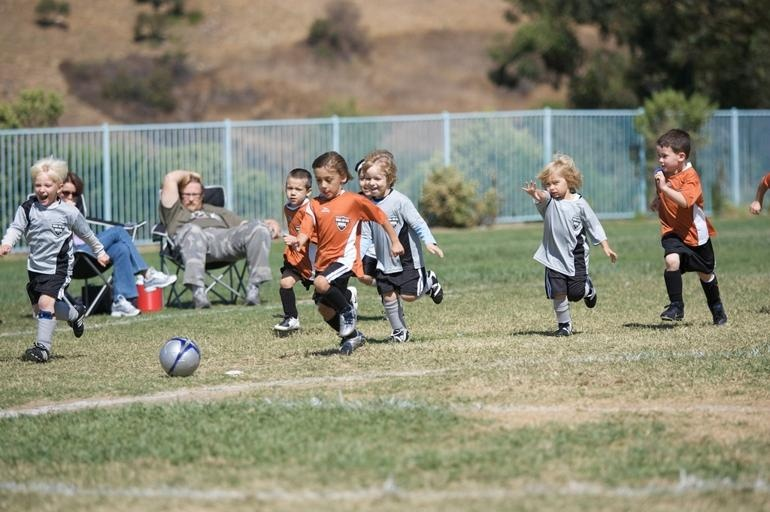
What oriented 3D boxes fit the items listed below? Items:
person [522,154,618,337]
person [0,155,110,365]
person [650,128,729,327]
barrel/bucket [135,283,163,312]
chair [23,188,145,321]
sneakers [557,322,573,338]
[{"bbox_3d":[2.672,-0.165,18.470,1.028,2.630,0.582,-2,4,5],"label":"person"},{"bbox_3d":[-4.834,0.036,18.103,1.293,2.936,0.677,-4,4,-13],"label":"person"},{"bbox_3d":[4.468,-0.421,18.490,0.914,2.918,0.723,-2,4,10],"label":"person"},{"bbox_3d":[-3.879,0.735,20.675,0.440,0.429,0.384,0,-1,0],"label":"barrel/bucket"},{"bbox_3d":[-4.790,-0.188,20.715,1.515,2.134,1.079,-2,-6,4],"label":"chair"},{"bbox_3d":[2.635,1.073,18.412,0.254,0.187,0.370,-2,4,8],"label":"sneakers"}]
